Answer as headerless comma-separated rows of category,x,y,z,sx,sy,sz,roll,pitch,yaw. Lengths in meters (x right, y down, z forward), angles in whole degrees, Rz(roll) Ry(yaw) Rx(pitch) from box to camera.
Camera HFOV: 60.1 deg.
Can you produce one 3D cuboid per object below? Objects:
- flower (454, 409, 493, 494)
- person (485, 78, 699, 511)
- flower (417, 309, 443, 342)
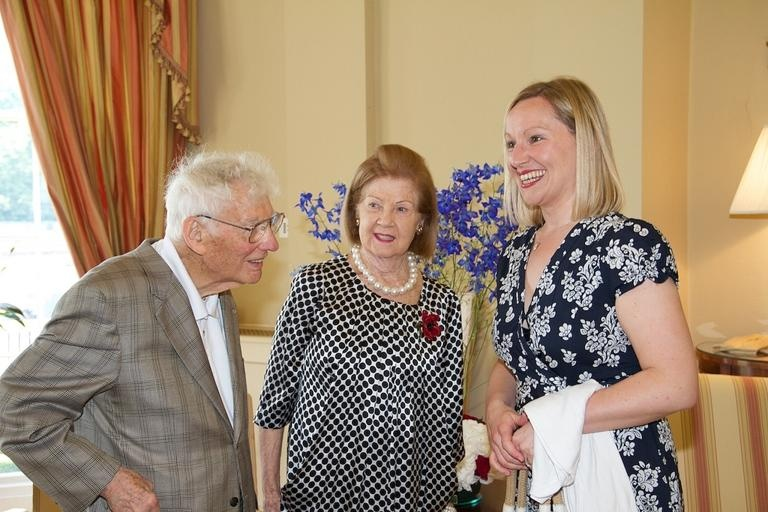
flower,0.429,0.904,3.091,0.237,0.277,0.119,6,20,3
person,0.757,0.136,2.526,0.760,1.655,0.413,-2,-6,18
flower,0.174,0.305,2.856,0.059,0.140,0.126,-10,-6,-34
